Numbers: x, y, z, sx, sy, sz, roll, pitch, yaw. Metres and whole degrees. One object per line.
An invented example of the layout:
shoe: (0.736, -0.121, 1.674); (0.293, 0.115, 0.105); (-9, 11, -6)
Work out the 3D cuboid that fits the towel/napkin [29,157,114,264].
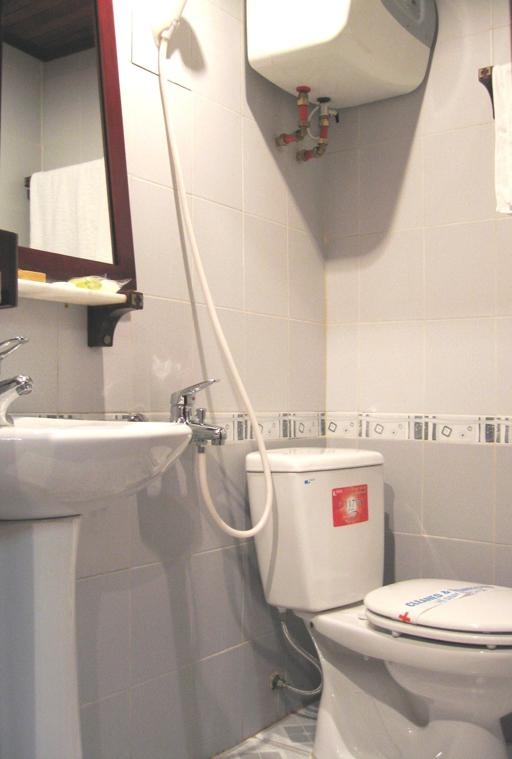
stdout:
towel/napkin: (-0.322, -0.314, 1.051); (0.017, 0.197, 0.202); (1, 2, 24)
